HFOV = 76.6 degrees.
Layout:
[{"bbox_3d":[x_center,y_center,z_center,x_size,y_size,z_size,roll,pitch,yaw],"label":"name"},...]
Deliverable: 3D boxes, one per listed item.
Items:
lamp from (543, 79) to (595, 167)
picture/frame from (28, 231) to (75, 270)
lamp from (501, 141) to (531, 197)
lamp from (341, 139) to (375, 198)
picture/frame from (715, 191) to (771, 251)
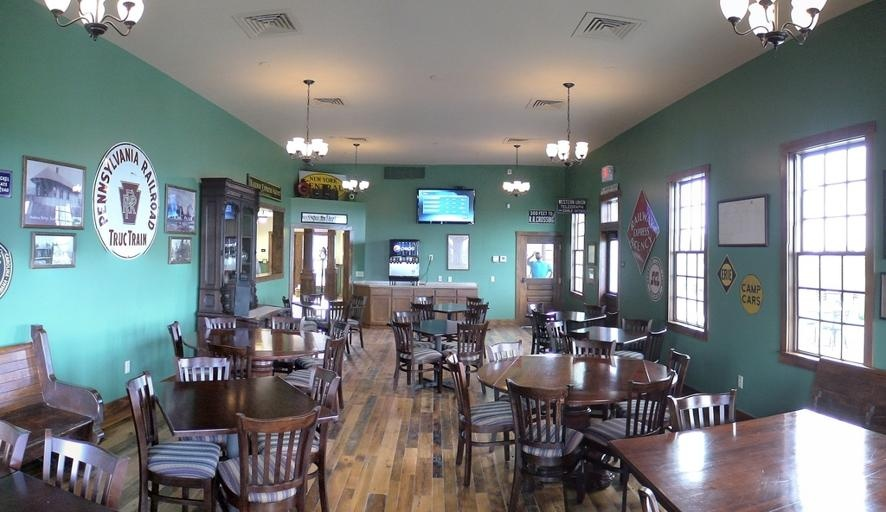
[{"bbox_3d":[2.078,-2.198,9.346,0.748,1.319,0.723,-4,8,-28],"label":"lamp"},{"bbox_3d":[-5.062,-0.084,7.211,0.053,0.424,0.518,-2,-3,31],"label":"picture/frame"},{"bbox_3d":[1.594,-1.895,12.271,0.590,1.093,0.610,-1,5,-43],"label":"lamp"},{"bbox_3d":[-2.030,-1.948,12.769,0.639,1.200,0.693,3,0,-27],"label":"lamp"},{"bbox_3d":[4.293,-0.494,8.066,0.084,0.729,0.899,-1,1,-18],"label":"picture/frame"}]
